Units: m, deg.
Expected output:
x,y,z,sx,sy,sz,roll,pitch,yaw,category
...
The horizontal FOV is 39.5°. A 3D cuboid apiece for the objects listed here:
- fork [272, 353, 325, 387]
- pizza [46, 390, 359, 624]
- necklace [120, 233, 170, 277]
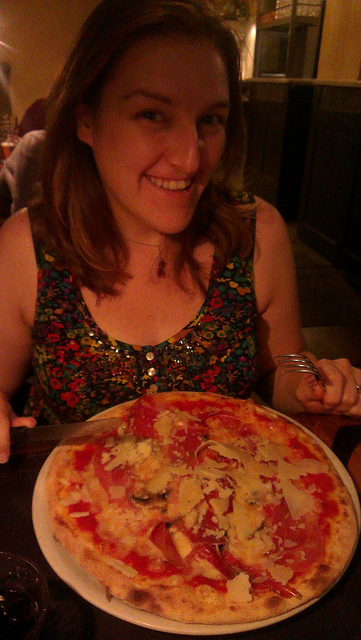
x,y,z,sx,sy,sz,roll,pitch,yaw,category
0.247,0.107,1.055,0.091,0.083,0.052,-18,46,3,fork
0.030,0.239,0.725,0.433,0.041,0.424,-2,24,-14,pizza
-0.084,-0.155,1.195,0.102,0.096,0.030,3,22,-1,necklace
